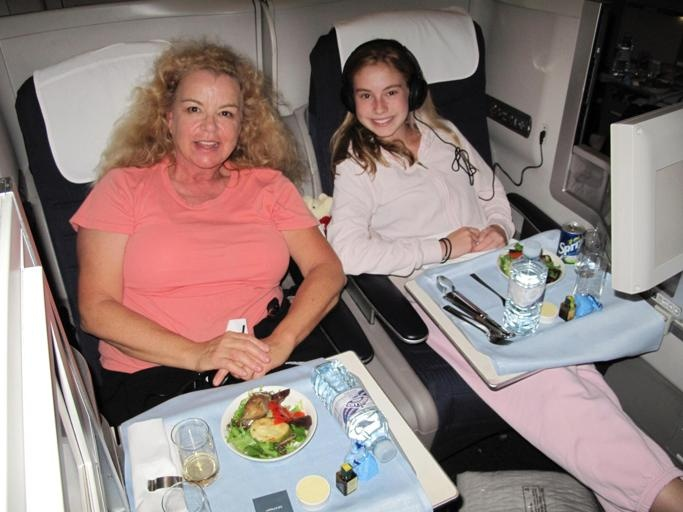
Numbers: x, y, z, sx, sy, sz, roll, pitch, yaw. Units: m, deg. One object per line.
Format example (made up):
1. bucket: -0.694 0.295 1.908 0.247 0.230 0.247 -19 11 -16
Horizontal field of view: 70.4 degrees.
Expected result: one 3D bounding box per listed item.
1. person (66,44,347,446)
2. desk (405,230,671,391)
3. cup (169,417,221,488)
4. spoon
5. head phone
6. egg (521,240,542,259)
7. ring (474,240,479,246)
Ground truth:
1. person: -0.542 -0.209 1.986 0.881 1.003 1.415 -7 56 -29
2. desk: 0.647 0.220 1.576 0.608 0.206 0.633 -20 44 -10
3. cup: -0.334 0.450 1.109 0.086 0.131 0.145 -9 16 -7
4. spoon: 0.435 0.165 1.646 0.090 0.102 0.337 -32 36 -7
5. head phone: 0.164 -0.786 2.121 0.325 0.304 0.134 -4 21 -2
6. egg: 0.607 -0.020 1.543 0.055 0.055 0.057 3 14 22
7. ring: 0.586 -0.056 2.090 0.016 0.017 0.005 -2 -12 -1
